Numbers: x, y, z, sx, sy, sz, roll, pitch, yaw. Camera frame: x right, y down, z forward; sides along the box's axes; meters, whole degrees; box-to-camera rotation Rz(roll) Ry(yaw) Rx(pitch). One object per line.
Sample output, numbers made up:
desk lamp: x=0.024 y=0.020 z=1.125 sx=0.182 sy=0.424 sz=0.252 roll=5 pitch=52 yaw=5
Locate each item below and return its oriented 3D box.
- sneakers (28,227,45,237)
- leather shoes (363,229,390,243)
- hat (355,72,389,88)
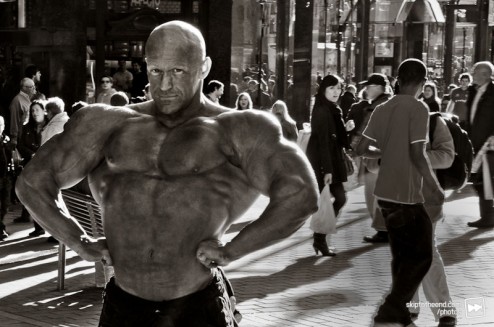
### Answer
sneakers: x=-3.141 y=1.027 z=10.062 sx=0.270 sy=0.108 sz=0.087 roll=3 pitch=11 yaw=3
leather shoes: x=1.903 y=1.071 z=9.892 sx=0.511 sy=0.195 sz=0.165 roll=2 pitch=-9 yaw=3
hat: x=2.041 y=-1.306 z=10.638 sx=0.578 sy=0.255 sz=0.359 roll=4 pitch=5 yaw=-5
